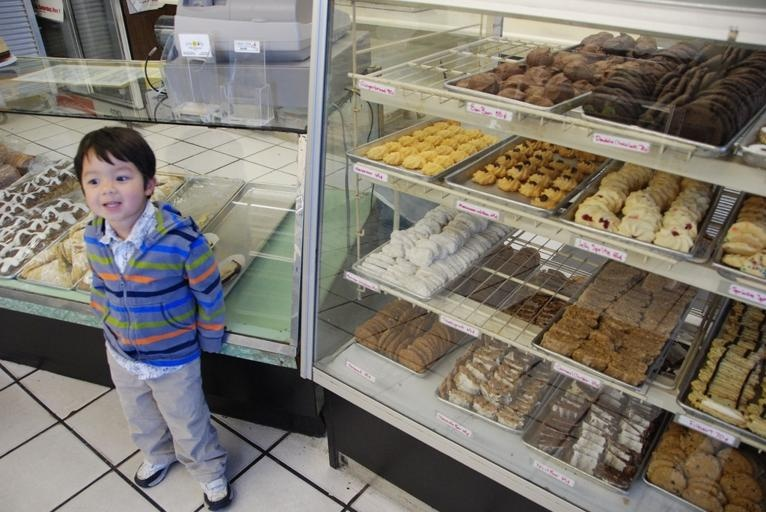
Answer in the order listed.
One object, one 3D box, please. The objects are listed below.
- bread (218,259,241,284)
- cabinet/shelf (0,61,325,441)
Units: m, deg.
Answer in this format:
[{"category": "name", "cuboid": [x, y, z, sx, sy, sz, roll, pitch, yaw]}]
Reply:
[{"category": "bread", "cuboid": [-0.855, 0.084, 2.565, 0.084, 0.043, 0.146, 41, 61, 5]}, {"category": "cabinet/shelf", "cuboid": [-1.085, -0.029, 2.367, 1.959, 1.248, 1.025, 14, 34, 27]}]
